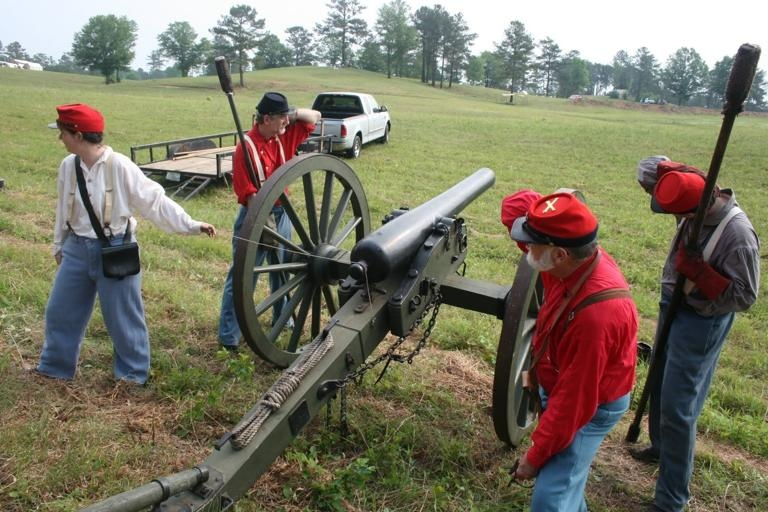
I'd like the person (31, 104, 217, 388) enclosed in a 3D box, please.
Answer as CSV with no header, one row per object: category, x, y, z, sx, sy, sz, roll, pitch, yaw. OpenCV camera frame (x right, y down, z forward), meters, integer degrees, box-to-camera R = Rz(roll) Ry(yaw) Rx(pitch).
person,-2.230,-0.047,5.047,0.993,2.175,0.497,5,17,1

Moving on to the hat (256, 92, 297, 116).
hat,-0.979,-1.342,5.698,0.260,0.116,0.200,-17,43,-21

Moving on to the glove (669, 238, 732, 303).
glove,2.259,0.118,4.549,0.300,0.164,0.413,-4,54,-39

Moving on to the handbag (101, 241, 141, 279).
handbag,-2.110,0.032,5.074,0.288,0.315,0.170,-10,14,-19

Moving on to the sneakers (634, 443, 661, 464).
sneakers,2.114,1.594,5.101,0.219,0.100,0.098,6,12,24

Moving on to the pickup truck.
pickup truck,-0.837,-2.995,14.823,1.174,0.991,2.657,9,28,20

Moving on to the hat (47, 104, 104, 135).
hat,-2.387,-1.055,4.944,0.316,0.162,0.257,5,26,-15

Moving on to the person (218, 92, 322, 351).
person,-1.152,-0.327,5.878,0.673,2.291,1.313,9,18,12

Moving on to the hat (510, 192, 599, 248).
hat,1.084,-0.245,3.982,0.528,0.254,0.419,5,31,15
